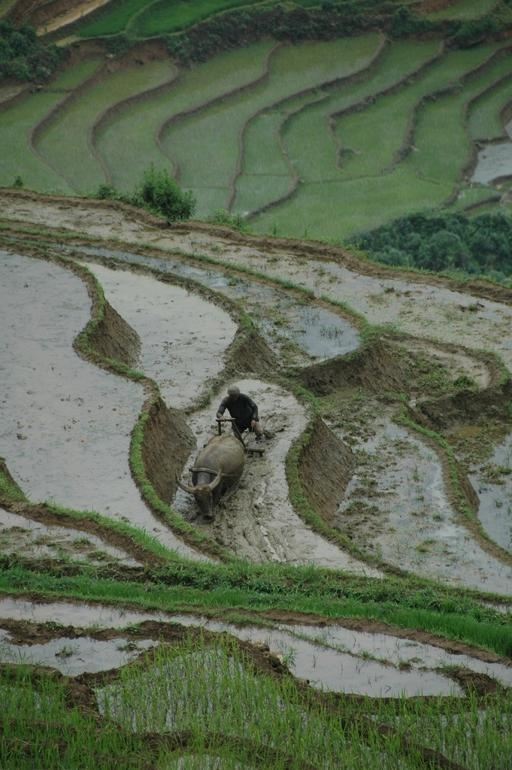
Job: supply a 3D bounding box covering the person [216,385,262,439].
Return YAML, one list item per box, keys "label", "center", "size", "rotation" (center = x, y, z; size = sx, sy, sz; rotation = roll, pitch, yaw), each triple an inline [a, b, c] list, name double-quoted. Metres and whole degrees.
- label: "person"
  center: [-0.373, 0.683, 36.231]
  size: [1.044, 1.395, 1.076]
  rotation: [-2, 16, 0]

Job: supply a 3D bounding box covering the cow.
- label: "cow"
  center: [-0.947, 2.096, 34.777]
  size: [0.876, 1.435, 2.538]
  rotation: [12, 21, 6]
